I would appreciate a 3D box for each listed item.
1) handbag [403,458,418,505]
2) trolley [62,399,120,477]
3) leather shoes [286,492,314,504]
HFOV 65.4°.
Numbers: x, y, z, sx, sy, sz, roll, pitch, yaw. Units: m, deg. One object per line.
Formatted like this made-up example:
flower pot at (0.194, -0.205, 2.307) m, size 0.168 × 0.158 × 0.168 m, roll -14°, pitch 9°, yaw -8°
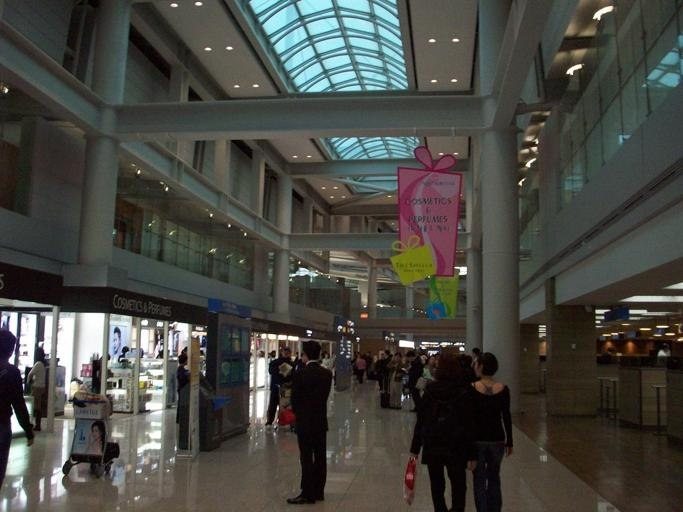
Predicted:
handbag at (0.733, 2.368, 5.588) m, size 0.118 × 0.496 × 0.314 m, roll -2°, pitch -13°, yaw 7°
trolley at (-4.227, 3.068, 9.074) m, size 1.067 × 1.184 × 1.057 m, roll -14°, pitch -14°, yaw 42°
leather shoes at (-0.557, 3.282, 7.203) m, size 0.375 × 0.172 × 0.146 m, roll 4°, pitch -12°, yaw 7°
